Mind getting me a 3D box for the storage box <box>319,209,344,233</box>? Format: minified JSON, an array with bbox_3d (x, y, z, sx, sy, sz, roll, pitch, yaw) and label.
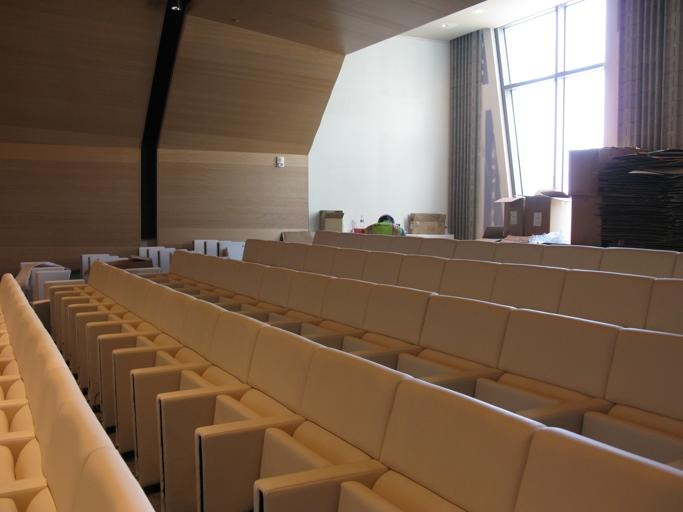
[{"bbox_3d":[-0.210,-0.818,10.998,0.464,0.431,1.076,-2,7,-12],"label":"storage box"}]
